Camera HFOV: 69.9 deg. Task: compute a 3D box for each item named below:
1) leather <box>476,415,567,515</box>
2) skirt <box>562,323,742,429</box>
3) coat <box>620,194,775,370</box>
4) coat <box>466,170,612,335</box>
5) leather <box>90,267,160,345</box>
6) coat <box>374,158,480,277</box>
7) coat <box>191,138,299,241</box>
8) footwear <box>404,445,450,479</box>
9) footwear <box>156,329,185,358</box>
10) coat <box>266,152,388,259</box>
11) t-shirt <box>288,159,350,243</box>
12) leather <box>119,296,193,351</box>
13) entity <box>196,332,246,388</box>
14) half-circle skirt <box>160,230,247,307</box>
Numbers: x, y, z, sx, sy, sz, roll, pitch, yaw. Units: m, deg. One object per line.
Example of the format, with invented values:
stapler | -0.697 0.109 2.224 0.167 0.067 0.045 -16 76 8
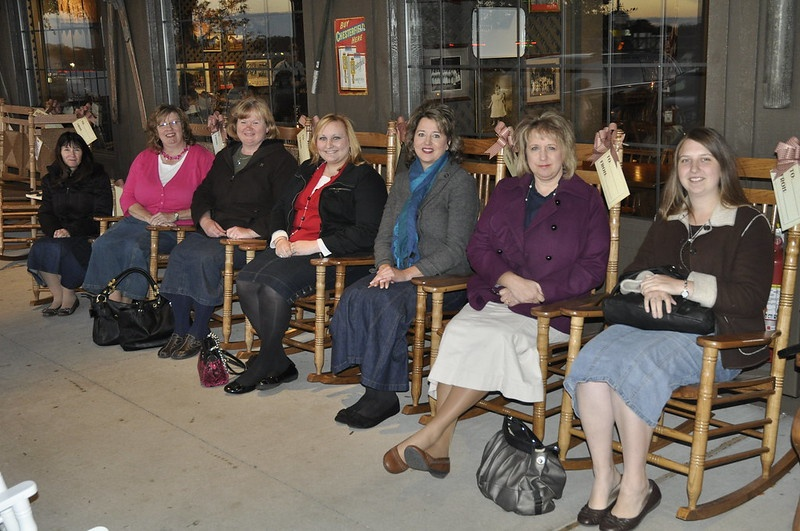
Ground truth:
leather | 0.603 1.005 2.869 0.329 0.360 0.510 5 3 -21
skirt | 1.242 0.400 2.906 0.872 0.276 0.643 21 18 40
coat | 1.543 0.067 3.012 0.499 0.828 0.769 -3 7 -29
coat | 0.788 -0.059 3.231 0.698 0.781 0.493 29 20 32
leather | -2.155 0.357 4.680 0.356 0.704 0.725 -4 -6 38
coat | 0.138 -0.292 3.763 0.670 0.791 0.606 0 23 -10
coat | -1.227 -0.583 4.598 0.716 0.703 0.491 27 17 32
footwear | 0.136 1.023 3.033 0.263 0.120 0.113 29 31 3
footwear | -1.723 0.610 4.474 0.126 0.113 0.270 9 32 31
coat | -0.457 -0.407 4.215 1.003 0.777 0.621 12 3 40
t-shirt | -0.672 -0.482 4.194 0.288 0.632 0.258 19 31 -3
leather | -1.952 0.402 4.596 0.507 0.472 0.251 -10 8 27
entity | -1.237 0.650 4.053 0.343 0.237 0.343 1 4 -26
half-circle skirt | -1.537 0.030 4.644 0.422 0.581 0.617 11 5 26
